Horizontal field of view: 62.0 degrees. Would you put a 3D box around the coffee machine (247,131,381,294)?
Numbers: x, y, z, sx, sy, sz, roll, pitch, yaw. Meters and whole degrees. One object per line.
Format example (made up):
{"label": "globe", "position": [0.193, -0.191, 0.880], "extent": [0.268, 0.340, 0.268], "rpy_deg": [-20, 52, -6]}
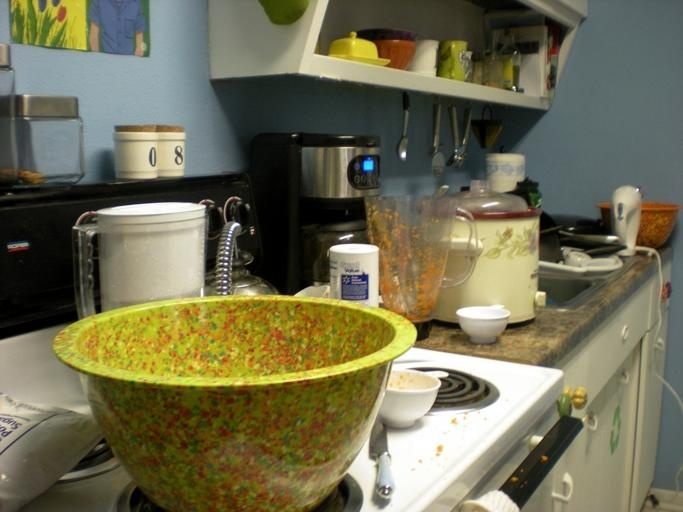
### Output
{"label": "coffee machine", "position": [-0.077, -0.137, 1.484], "extent": [0.229, 0.428, 0.286], "rpy_deg": [18, 19, 41]}

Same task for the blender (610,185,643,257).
{"label": "blender", "position": [1.057, -0.135, 2.111], "extent": [0.112, 0.263, 0.116], "rpy_deg": [11, -10, -35]}

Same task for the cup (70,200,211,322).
{"label": "cup", "position": [-0.282, -0.016, 0.840], "extent": [0.186, 0.202, 0.149], "rpy_deg": [-4, 11, -21]}

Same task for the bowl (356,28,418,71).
{"label": "bowl", "position": [0.130, -0.569, 1.652], "extent": [0.141, 0.102, 0.132], "rpy_deg": [0, 9, 0]}

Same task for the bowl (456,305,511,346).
{"label": "bowl", "position": [0.307, 0.145, 1.246], "extent": [0.105, 0.075, 0.136], "rpy_deg": [3, 14, 13]}

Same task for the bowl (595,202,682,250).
{"label": "bowl", "position": [1.249, -0.124, 2.342], "extent": [0.244, 0.162, 0.260], "rpy_deg": [-1, -1, 0]}

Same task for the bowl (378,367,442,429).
{"label": "bowl", "position": [0.095, 0.199, 0.877], "extent": [0.091, 0.086, 0.097], "rpy_deg": [6, 13, -1]}
